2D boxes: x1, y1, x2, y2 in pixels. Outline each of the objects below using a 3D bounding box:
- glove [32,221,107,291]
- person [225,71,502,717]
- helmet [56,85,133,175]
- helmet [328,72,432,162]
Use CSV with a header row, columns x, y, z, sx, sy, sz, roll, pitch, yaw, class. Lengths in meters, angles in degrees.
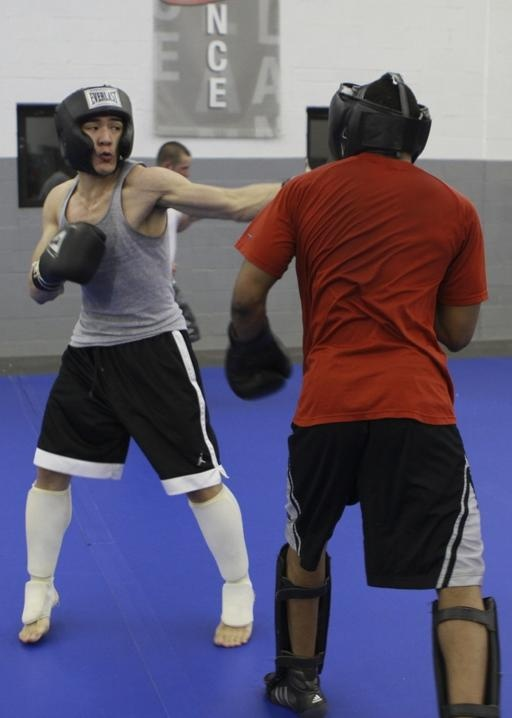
x,y,z,sx,sy,sz,roll,pitch,yaw,class
-0.459,-0.248,1.956,0.157,0.179,0.319,-5,12,-21,glove
0.246,0.083,1.448,0.404,0.896,0.663,-7,13,-29,person
-0.390,-0.581,1.968,0.196,0.197,0.229,-9,22,-23,helmet
0.230,-0.447,1.497,0.173,0.164,0.201,-9,31,-27,helmet
